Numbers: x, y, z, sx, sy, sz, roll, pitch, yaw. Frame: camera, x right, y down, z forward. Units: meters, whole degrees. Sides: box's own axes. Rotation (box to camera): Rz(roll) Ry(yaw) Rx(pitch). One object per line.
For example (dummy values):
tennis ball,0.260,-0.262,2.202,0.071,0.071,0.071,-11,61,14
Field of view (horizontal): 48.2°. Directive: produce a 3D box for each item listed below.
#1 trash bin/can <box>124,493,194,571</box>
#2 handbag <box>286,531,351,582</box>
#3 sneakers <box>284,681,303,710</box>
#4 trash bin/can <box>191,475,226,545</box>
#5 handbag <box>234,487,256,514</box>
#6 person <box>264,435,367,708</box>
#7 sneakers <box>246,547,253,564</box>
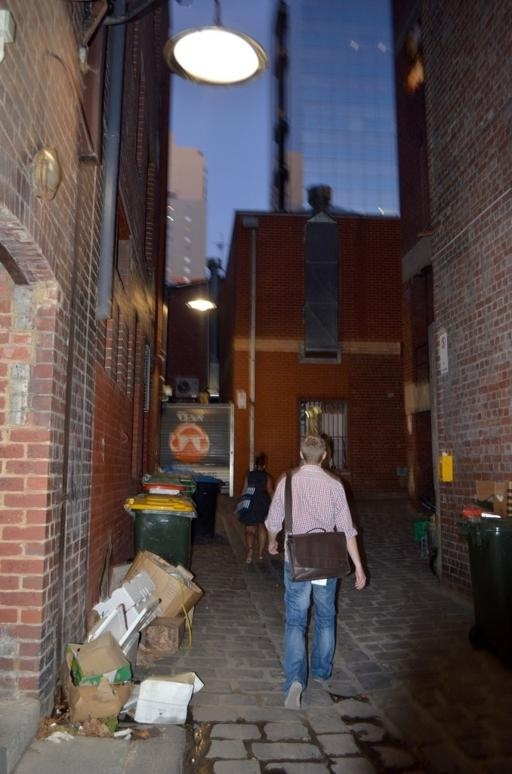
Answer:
trash bin/can,-1.240,1.820,7.485,0.820,1.195,0.812,1,-2,-7
handbag,0.390,1.110,3.758,0.277,0.263,0.109,-2,-23,-12
sneakers,0.235,1.923,3.583,0.074,0.154,0.057,-2,-17,13
trash bin/can,-1.015,2.427,11.502,0.524,1.263,1.048,4,-9,-5
handbag,-0.164,1.769,8.986,0.276,0.446,0.307,4,-9,0
person,0.404,1.210,4.057,0.710,1.733,0.881,2,-9,11
sneakers,-0.117,2.673,9.036,0.063,0.222,0.084,0,-3,3
